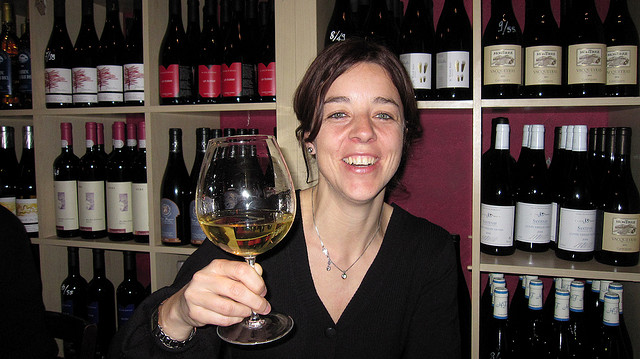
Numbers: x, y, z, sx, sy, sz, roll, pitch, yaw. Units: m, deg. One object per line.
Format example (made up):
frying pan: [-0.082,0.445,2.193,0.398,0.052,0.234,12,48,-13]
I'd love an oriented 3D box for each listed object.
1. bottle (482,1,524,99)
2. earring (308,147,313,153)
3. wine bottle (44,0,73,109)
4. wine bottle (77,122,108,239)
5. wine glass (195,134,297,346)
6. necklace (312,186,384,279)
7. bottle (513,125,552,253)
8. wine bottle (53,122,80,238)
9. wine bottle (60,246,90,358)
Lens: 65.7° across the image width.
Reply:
bottle: [0.942,-0.680,2.559,0.212,0.554,0.383,1,4,18]
earring: [-0.052,-0.140,2.341,0.006,0.021,0.022,0,1,-41]
wine bottle: [-1.482,-0.698,2.792,0.148,0.595,0.168,-2,4,-25]
wine bottle: [-1.298,0.005,2.810,0.148,0.646,0.173,-2,4,-25]
wine glass: [-0.278,0.225,1.880,0.371,0.784,0.185,-1,4,-14]
necklace: [0.125,0.251,2.297,0.328,0.386,0.143,0,4,-2]
bottle: [1.124,0.041,2.606,0.175,0.643,0.352,1,4,25]
wine bottle: [-1.443,0.007,2.805,0.135,0.642,0.145,0,4,0]
wine bottle: [-1.455,0.708,2.915,0.146,0.664,0.187,-2,4,-25]
